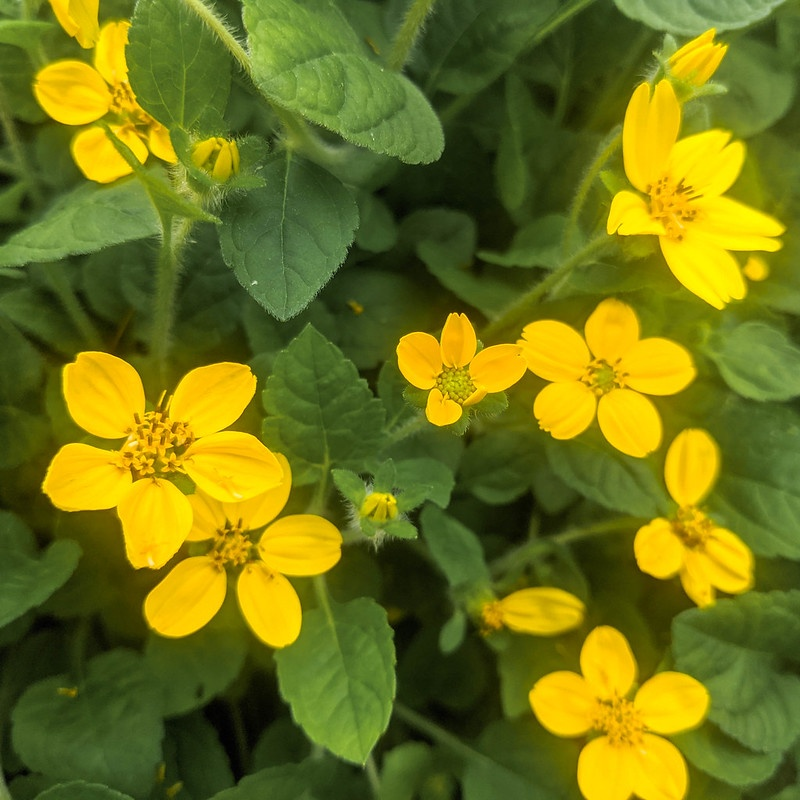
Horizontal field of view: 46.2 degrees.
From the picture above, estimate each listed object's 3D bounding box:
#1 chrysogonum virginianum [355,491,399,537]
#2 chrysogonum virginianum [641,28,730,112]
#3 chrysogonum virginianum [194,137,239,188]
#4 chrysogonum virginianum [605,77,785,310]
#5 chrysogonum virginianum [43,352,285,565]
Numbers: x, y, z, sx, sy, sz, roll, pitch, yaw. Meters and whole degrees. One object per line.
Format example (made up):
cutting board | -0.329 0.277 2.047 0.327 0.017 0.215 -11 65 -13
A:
chrysogonum virginianum | -0.027 0.145 1.235 0.048 0.038 0.050 37 75 14
chrysogonum virginianum | 0.383 -0.442 1.231 0.096 0.078 0.097 13 71 7
chrysogonum virginianum | -0.230 -0.308 1.194 0.062 0.028 0.055 -34 72 -11
chrysogonum virginianum | 0.418 -0.287 1.279 0.238 0.211 0.301 3 69 3
chrysogonum virginianum | -0.319 0.078 1.261 0.297 0.268 0.102 -8 43 10
